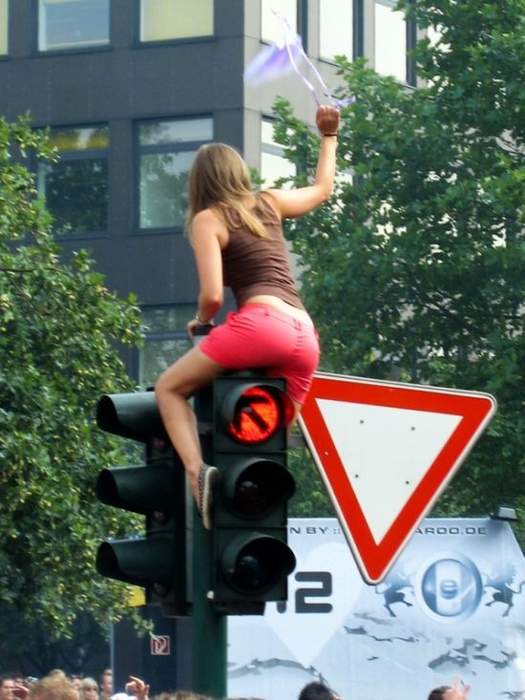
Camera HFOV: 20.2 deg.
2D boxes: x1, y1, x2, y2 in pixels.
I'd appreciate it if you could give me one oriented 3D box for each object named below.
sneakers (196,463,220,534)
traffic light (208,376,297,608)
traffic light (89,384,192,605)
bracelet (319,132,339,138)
[{"bbox_3d":[-0.258,0.718,7.312,0.093,0.293,0.111,0,5,11],"label":"sneakers"},{"bbox_3d":[-0.042,0.683,7.346,0.409,1.085,0.314,1,6,-2],"label":"traffic light"},{"bbox_3d":[-0.656,0.785,7.794,0.428,1.142,0.696,-1,6,-20],"label":"traffic light"},{"bbox_3d":[0.387,-1.218,8.380,0.100,0.036,0.073,-5,-1,22],"label":"bracelet"}]
